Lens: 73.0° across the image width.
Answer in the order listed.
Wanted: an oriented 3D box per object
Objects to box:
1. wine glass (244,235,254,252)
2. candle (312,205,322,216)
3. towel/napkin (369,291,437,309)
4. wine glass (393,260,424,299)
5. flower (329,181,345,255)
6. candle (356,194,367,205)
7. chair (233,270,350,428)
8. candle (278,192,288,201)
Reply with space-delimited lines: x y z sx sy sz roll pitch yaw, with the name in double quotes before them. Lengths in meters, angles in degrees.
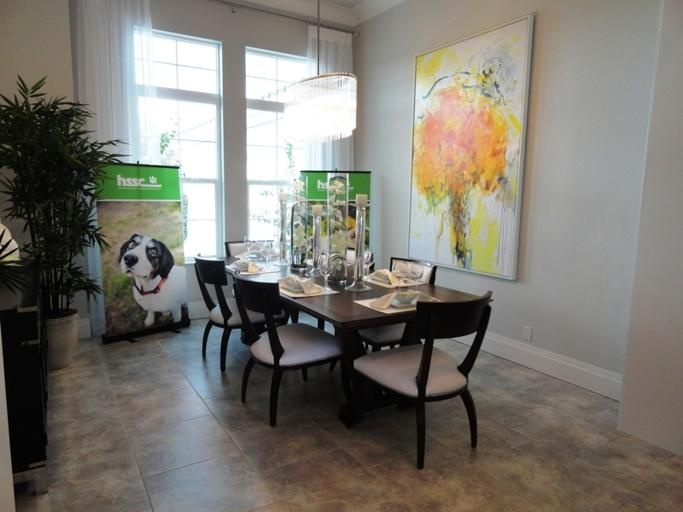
"wine glass" -1.005 -0.122 4.992 0.085 0.185 0.419 -1 10 -14
"candle" -0.231 -0.400 4.115 0.077 0.101 0.082 4 4 24
"towel/napkin" 0.415 0.322 3.290 0.230 0.055 0.217 -5 6 -23
"wine glass" 0.610 0.196 3.929 0.228 0.307 0.226 -2 3 -30
"flower" -0.041 -0.444 6.094 0.235 1.176 0.205 -5 16 -17
"candle" 0.160 -0.439 3.591 0.073 0.081 0.075 -7 14 -32
"chair" -0.484 0.502 3.955 0.930 1.538 0.959 -7 13 -32
"candle" -0.585 -0.593 4.625 0.070 0.083 0.075 -1 7 -14
